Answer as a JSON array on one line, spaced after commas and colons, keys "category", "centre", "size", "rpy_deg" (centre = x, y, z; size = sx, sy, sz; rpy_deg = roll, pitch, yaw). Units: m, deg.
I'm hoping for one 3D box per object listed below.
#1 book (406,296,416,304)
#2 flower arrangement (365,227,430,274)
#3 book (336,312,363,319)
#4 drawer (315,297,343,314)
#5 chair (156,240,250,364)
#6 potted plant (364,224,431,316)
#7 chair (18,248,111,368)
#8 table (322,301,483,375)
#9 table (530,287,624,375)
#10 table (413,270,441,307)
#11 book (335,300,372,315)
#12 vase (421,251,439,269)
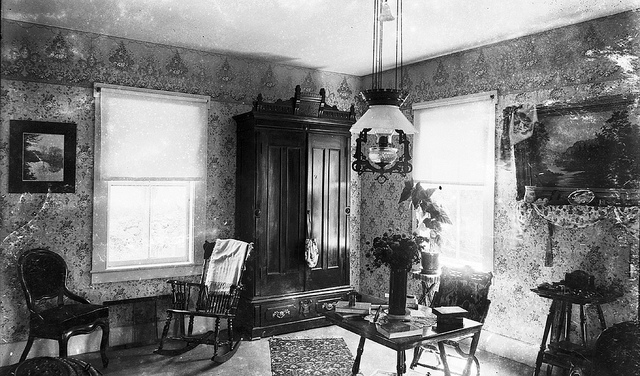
[{"category": "book", "centre": [1.164, 1.435, 5.820], "size": [0.154, 0.085, 0.100], "rpy_deg": [1, -7, -15]}, {"category": "flower arrangement", "centre": [0.951, 0.677, 5.666], "size": [0.796, 0.760, 0.580], "rpy_deg": [1, -11, 32]}, {"category": "book", "centre": [0.364, 1.554, 5.619], "size": [0.293, 0.055, 0.069], "rpy_deg": [0, 2, 4]}, {"category": "drawer", "centre": [0.199, 1.849, 7.323], "size": [0.421, 0.350, 0.093], "rpy_deg": [4, 6, -24]}, {"category": "chair", "centre": [-1.716, 1.606, 6.880], "size": [1.245, 1.613, 1.077], "rpy_deg": [0, 2, 13]}, {"category": "potted plant", "centre": [0.905, 0.949, 5.577], "size": [0.967, 0.797, 0.918], "rpy_deg": [5, -8, -24]}, {"category": "chair", "centre": [-3.634, 1.685, 6.352], "size": [1.070, 1.560, 0.953], "rpy_deg": [5, 0, 15]}, {"category": "table", "centre": [1.064, 1.710, 5.461], "size": [1.183, 0.641, 1.133], "rpy_deg": [4, -3, -36]}, {"category": "table", "centre": [3.633, 1.890, 6.430], "size": [1.134, 1.408, 1.098], "rpy_deg": [4, -1, -44]}, {"category": "table", "centre": [1.496, 1.415, 6.339], "size": [0.305, 0.300, 0.295], "rpy_deg": [15, -16, -24]}, {"category": "book", "centre": [0.417, 1.504, 5.750], "size": [0.412, 0.083, 0.387], "rpy_deg": [1, -5, 6]}, {"category": "vase", "centre": [1.417, 0.916, 5.890], "size": [0.260, 0.222, 0.213], "rpy_deg": [0, -3, 11]}]
